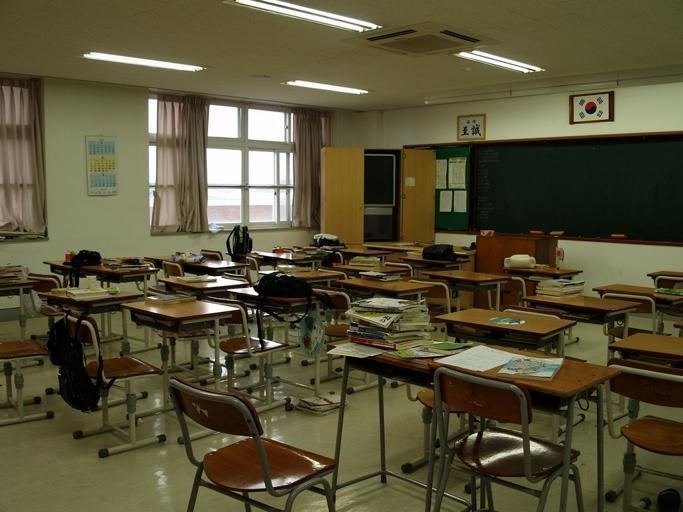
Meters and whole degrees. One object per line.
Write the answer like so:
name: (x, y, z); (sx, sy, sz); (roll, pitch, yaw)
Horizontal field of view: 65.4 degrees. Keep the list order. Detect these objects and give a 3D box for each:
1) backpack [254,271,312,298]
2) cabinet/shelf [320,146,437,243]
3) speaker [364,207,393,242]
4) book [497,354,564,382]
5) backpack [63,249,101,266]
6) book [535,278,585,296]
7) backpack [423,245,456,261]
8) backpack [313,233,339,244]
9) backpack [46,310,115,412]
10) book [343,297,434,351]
backpack: (-0.481, 0.223, 4.445); (0.331, 0.104, 0.258); (1, 0, 42)
cabinet/shelf: (0.685, -1.155, 9.804); (2.176, 1.696, 0.771); (0, 2, -21)
speaker: (0.690, -0.624, 10.016); (0.738, 0.592, 0.346); (1, 4, 3)
book: (0.948, 0.545, 2.640); (0.246, 0.027, 0.344); (1, 7, 30)
backpack: (-2.989, 0.021, 6.239); (0.305, 0.130, 0.425); (3, 1, 45)
book: (2.021, 0.290, 4.954); (0.273, 0.083, 0.274); (4, 6, 44)
backpack: (1.339, -0.036, 6.982); (0.276, 0.157, 0.290); (0, -1, -44)
backpack: (-0.265, -0.272, 8.683); (0.321, 0.108, 0.226); (2, 3, 34)
backpack: (-1.878, 0.799, 3.862); (0.260, 0.781, 0.584); (-9, 10, -42)
book: (0.263, 0.382, 3.101); (0.417, 0.238, 0.280); (3, 9, 41)
